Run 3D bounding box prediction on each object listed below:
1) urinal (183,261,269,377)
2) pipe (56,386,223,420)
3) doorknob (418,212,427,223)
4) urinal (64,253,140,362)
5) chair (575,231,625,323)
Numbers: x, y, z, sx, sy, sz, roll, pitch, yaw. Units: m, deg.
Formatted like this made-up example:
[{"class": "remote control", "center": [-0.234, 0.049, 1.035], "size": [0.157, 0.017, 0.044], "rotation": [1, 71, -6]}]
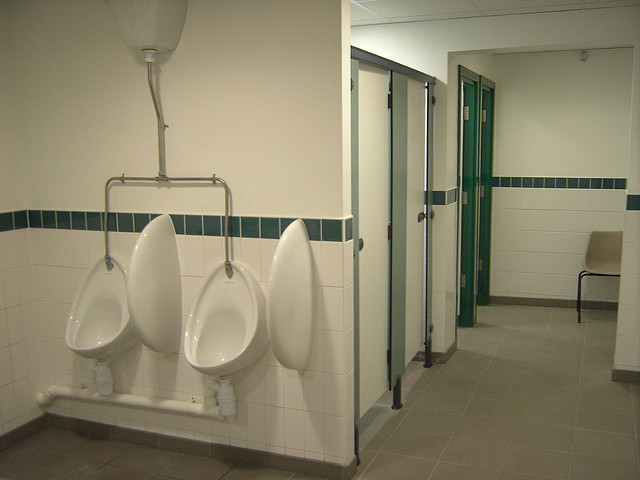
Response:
[{"class": "urinal", "center": [-0.560, 0.479, 3.182], "size": [0.569, 0.672, 0.331], "rotation": [0, 8, 8]}, {"class": "pipe", "center": [-1.151, 1.010, 3.482], "size": [1.234, 0.096, 0.077], "rotation": [2, 9, 17]}, {"class": "doorknob", "center": [0.809, -0.183, 4.399], "size": [0.077, 0.082, 0.062], "rotation": [-9, 21, 12]}, {"class": "urinal", "center": [-1.361, 0.425, 3.418], "size": [0.458, 0.647, 0.264], "rotation": [1, 9, 17]}, {"class": "chair", "center": [2.816, 0.379, 5.630], "size": [0.412, 0.841, 0.609], "rotation": [3, 9, 26]}]
